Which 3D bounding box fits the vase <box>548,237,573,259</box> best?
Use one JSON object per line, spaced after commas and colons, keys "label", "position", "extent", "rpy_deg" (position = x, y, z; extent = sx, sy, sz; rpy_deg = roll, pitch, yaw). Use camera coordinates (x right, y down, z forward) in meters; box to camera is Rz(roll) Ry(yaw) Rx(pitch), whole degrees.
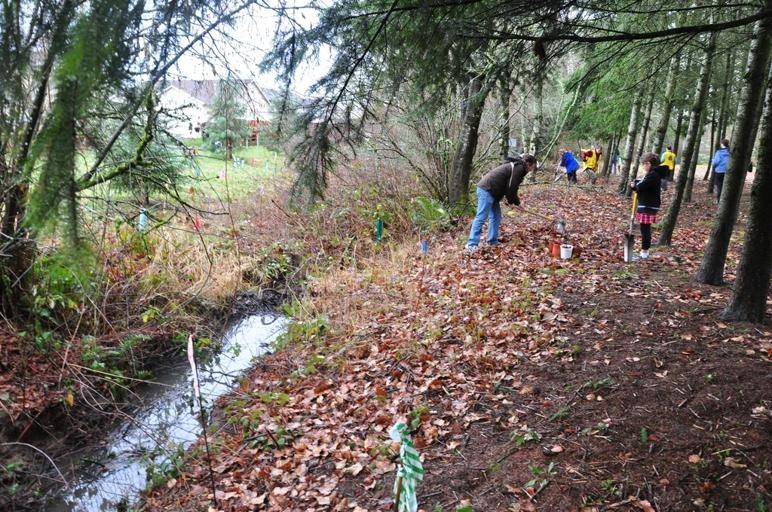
{"label": "vase", "position": [2.843, -0.137, 9.201], "extent": [0.380, 0.374, 0.262], "rpy_deg": [-5, 27, 20]}

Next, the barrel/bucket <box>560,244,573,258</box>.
{"label": "barrel/bucket", "position": [2.904, -0.079, 9.103], "extent": [0.189, 0.162, 0.198], "rpy_deg": [-3, 15, 1]}

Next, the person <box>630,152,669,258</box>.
{"label": "person", "position": [4.276, -0.833, 9.255], "extent": [0.497, 1.688, 0.730], "rpy_deg": [6, 13, 26]}

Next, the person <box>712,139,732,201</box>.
{"label": "person", "position": [8.853, -2.301, 15.105], "extent": [0.553, 1.621, 0.610], "rpy_deg": [-7, 11, -41]}

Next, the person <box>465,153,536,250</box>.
{"label": "person", "position": [1.940, -0.914, 9.734], "extent": [0.914, 1.653, 0.791], "rpy_deg": [-10, 15, -41]}
